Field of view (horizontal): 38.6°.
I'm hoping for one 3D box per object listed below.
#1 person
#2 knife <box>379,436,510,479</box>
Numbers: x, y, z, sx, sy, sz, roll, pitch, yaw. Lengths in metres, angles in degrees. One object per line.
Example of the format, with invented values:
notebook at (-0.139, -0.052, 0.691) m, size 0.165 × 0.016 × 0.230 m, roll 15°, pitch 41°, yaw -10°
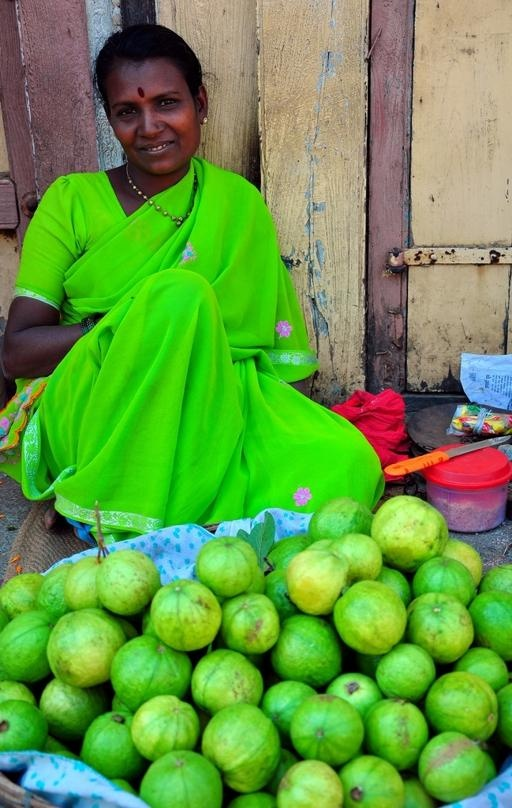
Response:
person at (-0.274, -0.404, 2.185) m, size 1.138 × 1.410 × 0.873 m, roll -7°, pitch 18°, yaw -14°
knife at (0.615, 0.171, 2.327) m, size 0.400 × 0.020 × 0.065 m, roll -15°, pitch 20°, yaw -25°
